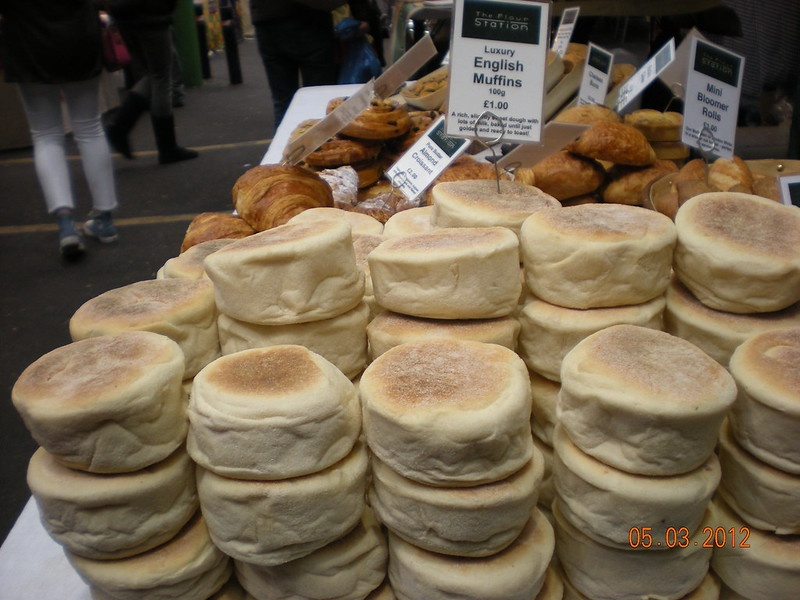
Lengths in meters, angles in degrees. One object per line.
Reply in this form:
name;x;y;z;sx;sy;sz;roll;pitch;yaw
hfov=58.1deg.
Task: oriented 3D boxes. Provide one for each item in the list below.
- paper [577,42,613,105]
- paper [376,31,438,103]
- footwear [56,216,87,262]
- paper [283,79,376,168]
paper;0.954;-1.101;3.522;0.164;0.287;0.136;-3;24;1
paper;0.033;-0.944;2.934;0.240;0.244;0.268;3;24;14
footwear;-2.549;-0.491;5.667;0.182;0.236;0.501;-26;14;-5
paper;-0.276;-0.714;2.988;0.107;0.593;0.170;30;32;-30
